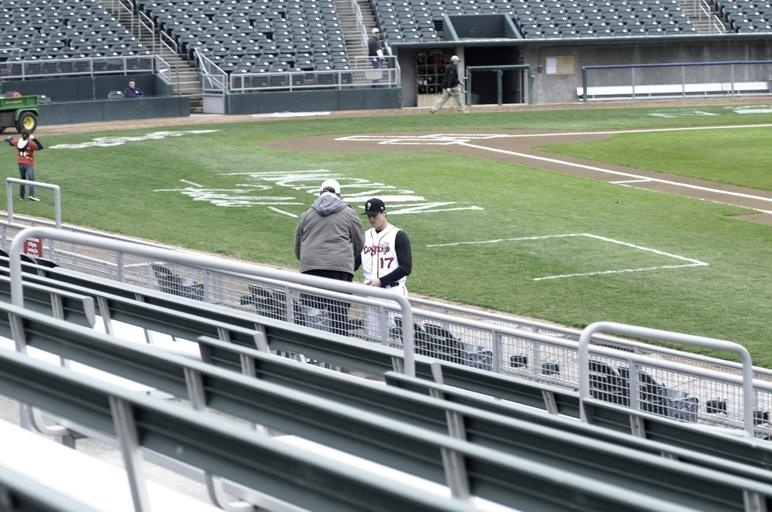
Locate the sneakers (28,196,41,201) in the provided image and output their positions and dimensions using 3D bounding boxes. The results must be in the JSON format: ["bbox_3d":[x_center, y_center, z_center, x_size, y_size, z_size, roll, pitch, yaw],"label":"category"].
[{"bbox_3d":[-7.819,-1.277,30.638,0.272,0.072,0.090,10,51,22],"label":"sneakers"}]

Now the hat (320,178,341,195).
[{"bbox_3d":[-0.886,-1.111,22.172,0.474,0.205,0.506,2,9,1],"label":"hat"}]

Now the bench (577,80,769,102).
[{"bbox_3d":[10.559,-6.168,51.859,7.345,0.717,0.832,0,4,1],"label":"bench"}]

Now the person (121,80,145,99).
[{"bbox_3d":[-8.244,-5.424,44.918,0.586,0.523,0.811,-4,13,-10],"label":"person"}]

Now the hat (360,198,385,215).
[{"bbox_3d":[-0.195,-0.797,21.742,0.287,0.258,0.506,-1,12,2],"label":"hat"}]
